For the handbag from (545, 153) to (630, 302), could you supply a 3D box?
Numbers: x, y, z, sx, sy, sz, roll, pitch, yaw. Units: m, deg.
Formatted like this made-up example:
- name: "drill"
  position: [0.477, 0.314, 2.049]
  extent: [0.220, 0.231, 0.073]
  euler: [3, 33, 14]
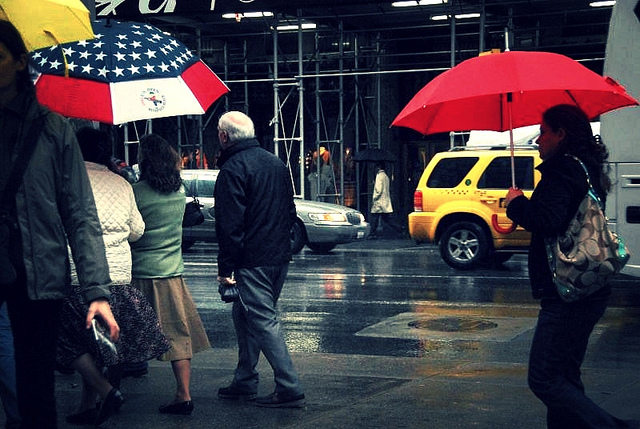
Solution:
- name: "handbag"
  position: [1.996, 0.064, 6.750]
  extent: [0.542, 1.093, 0.849]
  euler: [-10, -1, 42]

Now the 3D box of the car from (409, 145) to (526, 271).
- name: "car"
  position: [2.645, -0.085, 16.486]
  extent: [2.558, 1.402, 1.566]
  euler: [-3, 3, 7]

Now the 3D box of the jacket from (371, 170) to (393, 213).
- name: "jacket"
  position: [1.596, -0.564, 23.295]
  extent: [0.466, 1.071, 0.456]
  euler: [-4, 12, -14]

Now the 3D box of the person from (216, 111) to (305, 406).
- name: "person"
  position: [-0.554, 0.390, 7.857]
  extent: [0.740, 2.470, 0.682]
  euler: [-1, 11, 1]

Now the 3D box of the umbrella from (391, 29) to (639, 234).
- name: "umbrella"
  position: [1.549, -0.802, 7.713]
  extent: [1.831, 1.612, 1.803]
  euler: [-5, 4, -1]

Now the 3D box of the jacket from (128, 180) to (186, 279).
- name: "jacket"
  position: [-1.488, 0.134, 8.174]
  extent: [0.454, 0.846, 0.600]
  euler: [-5, -4, 38]

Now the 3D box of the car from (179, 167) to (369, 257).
- name: "car"
  position: [-1.111, -0.082, 19.500]
  extent: [4.336, 1.387, 1.744]
  euler: [0, 2, 10]

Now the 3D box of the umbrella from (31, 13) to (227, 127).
- name: "umbrella"
  position: [-1.769, -1.359, 8.427]
  extent: [1.842, 0.649, 1.925]
  euler: [-5, 18, -8]
